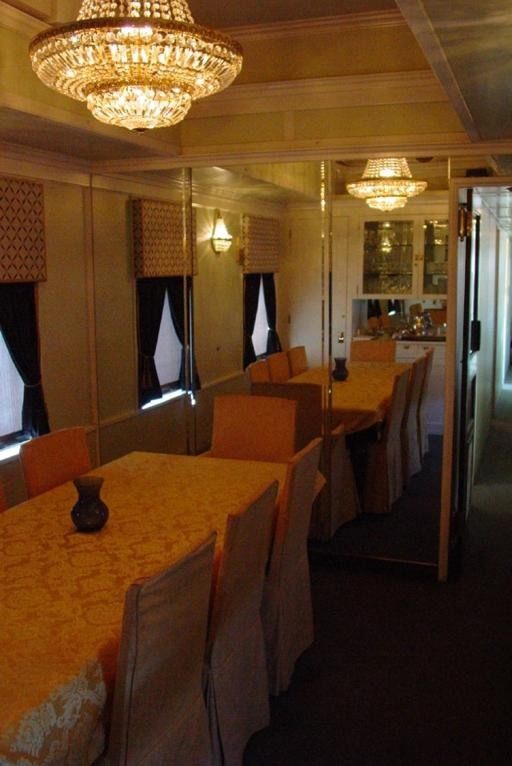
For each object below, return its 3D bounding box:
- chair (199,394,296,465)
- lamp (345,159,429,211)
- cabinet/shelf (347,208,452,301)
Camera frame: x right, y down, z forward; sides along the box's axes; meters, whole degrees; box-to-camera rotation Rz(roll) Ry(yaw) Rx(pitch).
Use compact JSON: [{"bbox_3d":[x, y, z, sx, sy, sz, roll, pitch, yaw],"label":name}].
[{"bbox_3d":[-0.025,0.256,3.001,0.345,0.565,0.410,3,-1,13],"label":"chair"},{"bbox_3d":[0.763,-1.155,3.107,0.388,0.353,0.423,2,7,21],"label":"lamp"},{"bbox_3d":[0.842,-0.737,3.017,0.479,0.499,0.162,1,2,30],"label":"cabinet/shelf"}]
